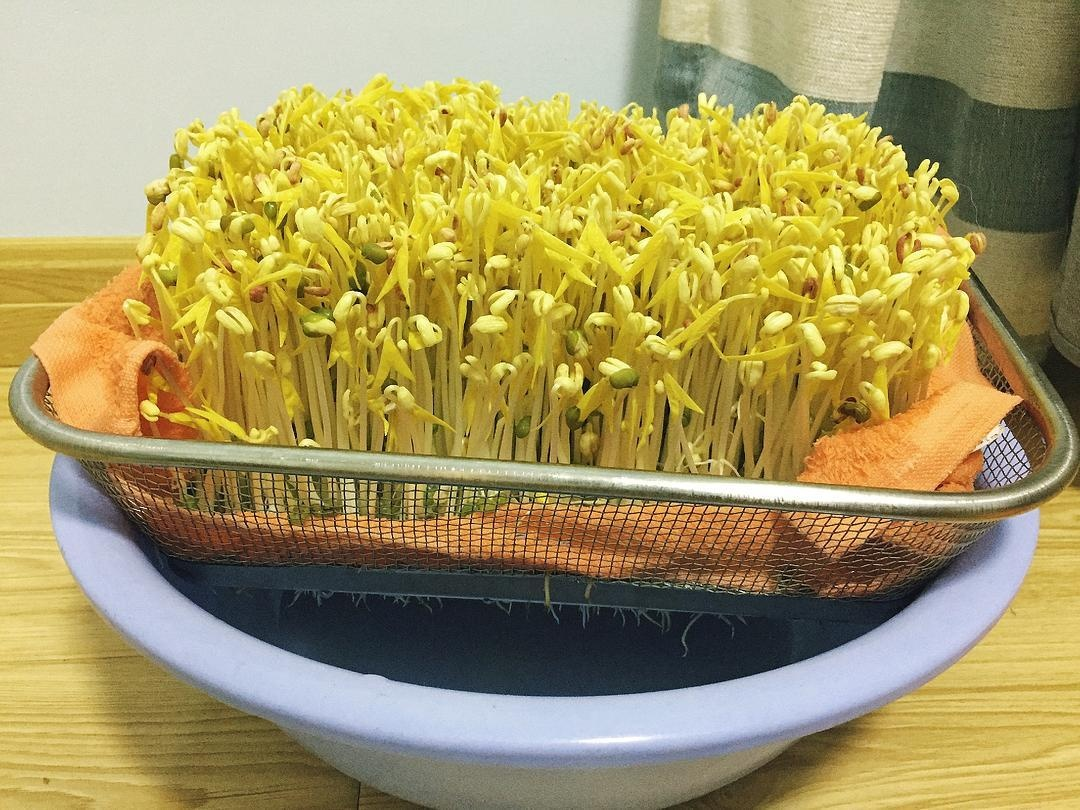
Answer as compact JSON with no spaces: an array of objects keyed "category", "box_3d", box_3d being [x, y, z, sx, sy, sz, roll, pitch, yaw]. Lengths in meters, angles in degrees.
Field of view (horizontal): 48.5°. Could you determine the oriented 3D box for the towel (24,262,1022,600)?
[{"category":"towel","box_3d":[-0.021,0.043,0.923,0.506,0.072,0.298,1,22,0]}]
